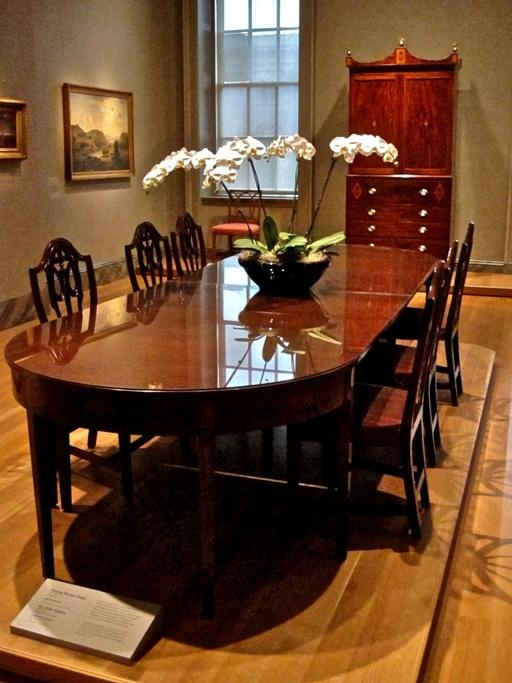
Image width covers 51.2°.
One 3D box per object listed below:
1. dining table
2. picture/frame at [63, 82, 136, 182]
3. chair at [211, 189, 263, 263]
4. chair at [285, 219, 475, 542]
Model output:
[{"bbox_3d":[-0.041,0.178,2.022,1.048,0.872,1.808,4,8,25],"label":"dining table"},{"bbox_3d":[-1.756,-2.263,5.891,1.111,0.908,0.078,12,18,30],"label":"picture/frame"},{"bbox_3d":[-0.208,-1.448,6.785,0.496,0.918,0.569,11,20,19],"label":"chair"},{"bbox_3d":[0.505,0.173,2.140,0.434,0.785,1.389,7,22,21],"label":"chair"}]
